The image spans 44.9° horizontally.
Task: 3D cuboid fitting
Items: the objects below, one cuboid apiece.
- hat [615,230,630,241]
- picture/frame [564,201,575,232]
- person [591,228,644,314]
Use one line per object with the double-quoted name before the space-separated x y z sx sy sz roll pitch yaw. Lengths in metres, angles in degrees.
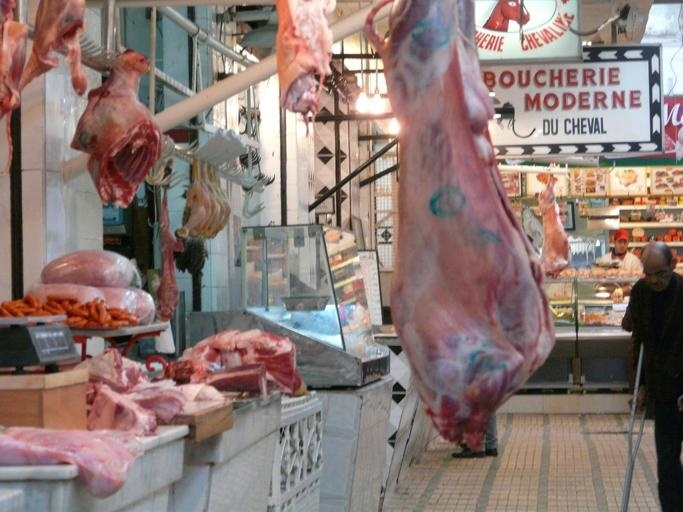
"hat" 3.653 -0.258 10.785 0.154 0.147 0.256 3 -13 11
"picture/frame" 3.759 -0.627 13.601 0.256 0.374 0.124 -1 0 -31
"person" 3.370 0.358 10.243 0.557 1.305 0.557 -1 10 -32
